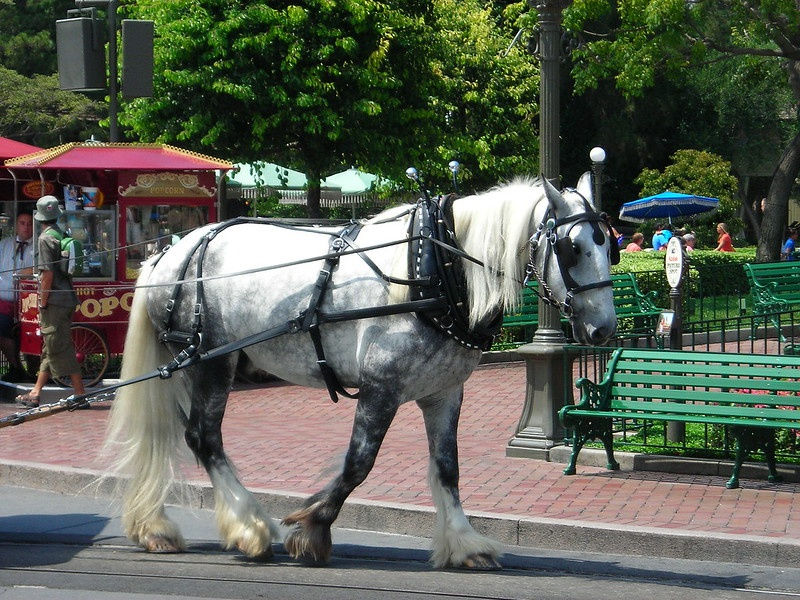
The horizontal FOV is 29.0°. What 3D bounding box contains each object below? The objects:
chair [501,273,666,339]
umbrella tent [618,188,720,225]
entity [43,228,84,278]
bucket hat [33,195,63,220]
[{"bbox_3d":[3.287,0.229,23.635,1.229,1.148,3.076,11,8,33],"label":"chair"},{"bbox_3d":[6.668,-2.358,39.159,1.873,0.745,3.887,-1,3,-6],"label":"umbrella tent"},{"bbox_3d":[-4.549,-0.640,20.993,0.676,0.546,0.516,9,8,41],"label":"entity"},{"bbox_3d":[-4.764,-1.232,21.072,0.369,0.191,0.353,-1,39,-13],"label":"bucket hat"}]
